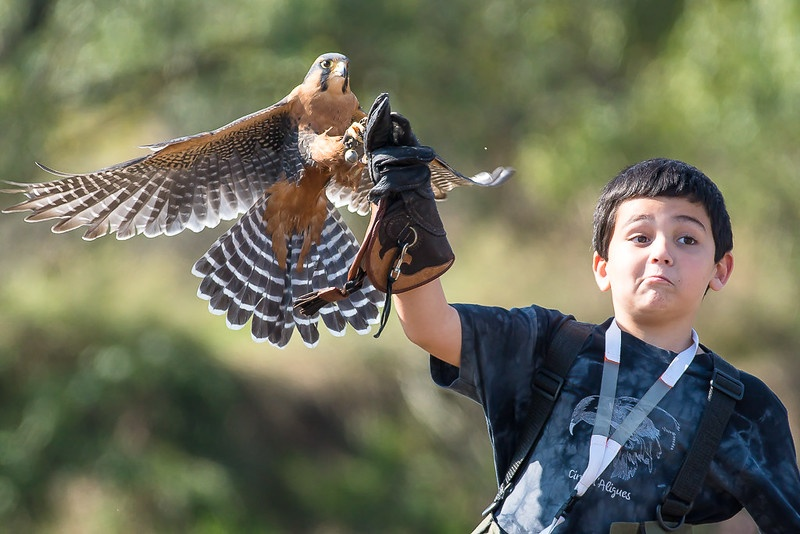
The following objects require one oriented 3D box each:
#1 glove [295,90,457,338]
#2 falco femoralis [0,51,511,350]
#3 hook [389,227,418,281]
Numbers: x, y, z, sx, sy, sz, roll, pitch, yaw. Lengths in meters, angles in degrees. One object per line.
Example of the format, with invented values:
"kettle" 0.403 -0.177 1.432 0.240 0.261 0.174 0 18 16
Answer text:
"glove" -0.097 -0.229 5.145 0.574 1.012 0.282 -8 8 -24
"falco femoralis" -0.849 -0.315 6.562 2.671 1.651 0.929 6 30 -24
"hook" 0.008 -0.078 5.177 0.089 0.274 0.045 20 -10 -17
